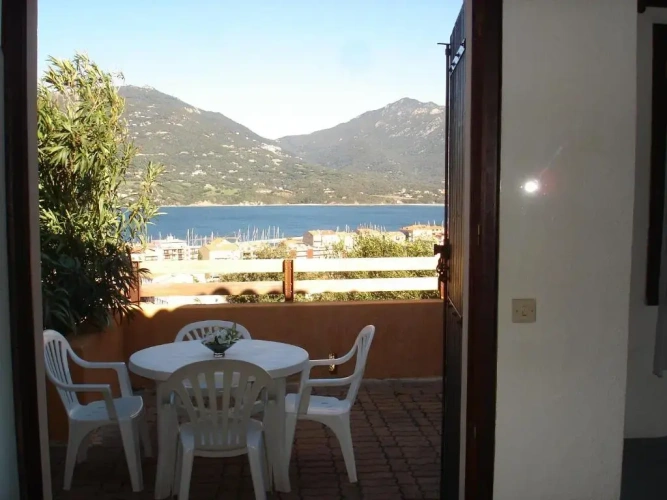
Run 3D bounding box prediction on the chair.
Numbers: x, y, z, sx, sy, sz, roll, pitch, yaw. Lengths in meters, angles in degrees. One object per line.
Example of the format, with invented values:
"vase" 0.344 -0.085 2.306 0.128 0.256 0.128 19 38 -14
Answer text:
"chair" -0.888 0.999 4.136 2.106 1.021 0.819 0 7 -3
